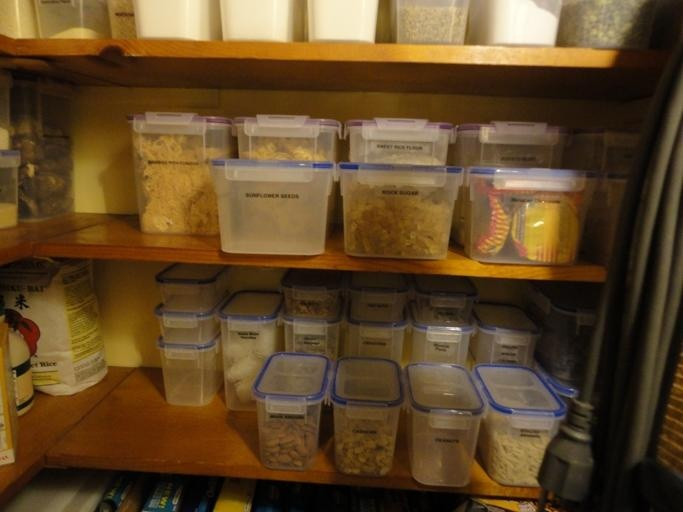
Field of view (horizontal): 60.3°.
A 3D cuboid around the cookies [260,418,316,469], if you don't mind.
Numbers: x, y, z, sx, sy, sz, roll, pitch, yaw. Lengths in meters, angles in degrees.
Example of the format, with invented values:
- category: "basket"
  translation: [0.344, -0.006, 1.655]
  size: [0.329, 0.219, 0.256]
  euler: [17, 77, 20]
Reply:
- category: "cookies"
  translation: [-0.175, 0.604, 1.958]
  size: [0.166, 0.142, 0.165]
  euler: [1, 6, 3]

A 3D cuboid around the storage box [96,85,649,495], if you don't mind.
- category: "storage box"
  translation: [0.132, 0.109, 1.878]
  size: [1.459, 0.954, 0.480]
  euler: [1, 26, 0]
